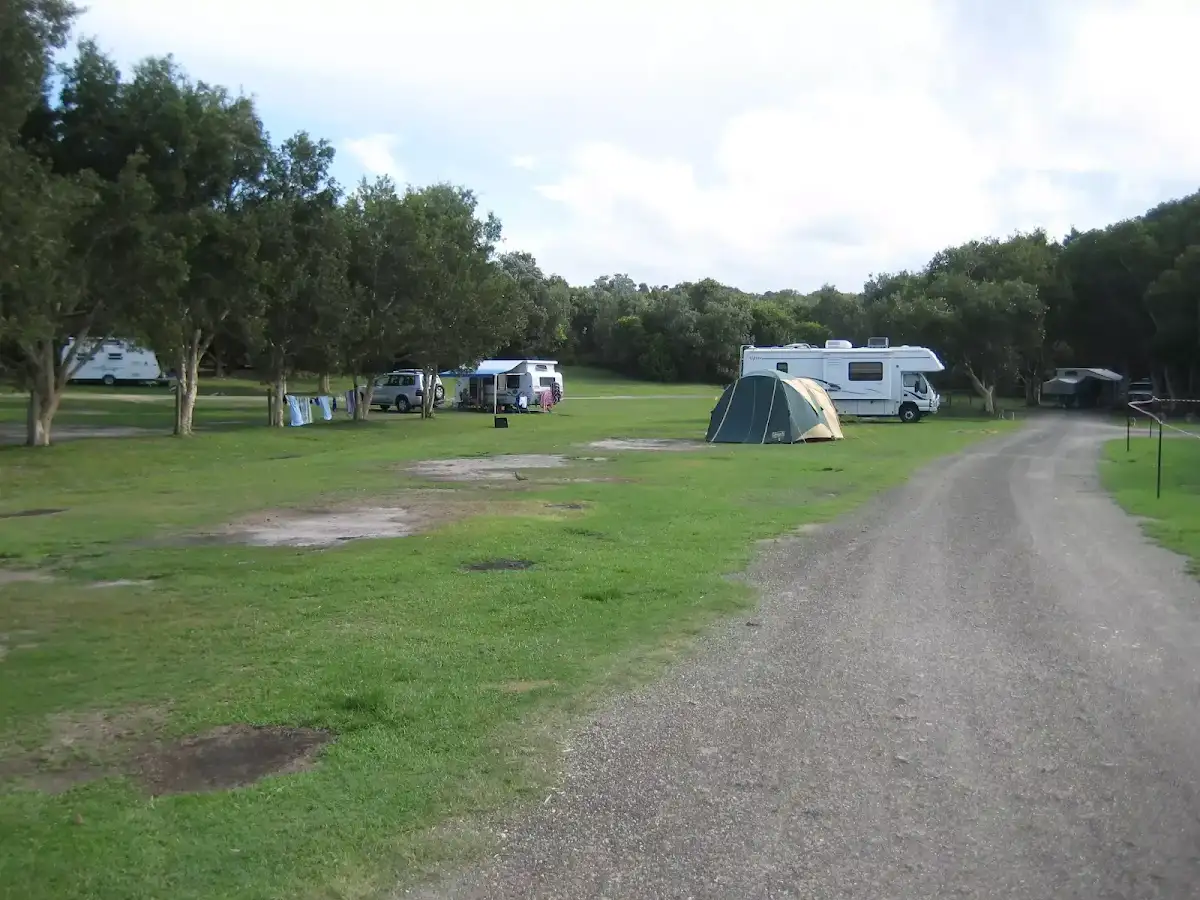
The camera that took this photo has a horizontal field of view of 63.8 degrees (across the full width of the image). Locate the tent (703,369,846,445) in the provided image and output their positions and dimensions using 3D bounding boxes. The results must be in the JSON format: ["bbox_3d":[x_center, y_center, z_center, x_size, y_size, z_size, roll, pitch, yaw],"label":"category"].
[{"bbox_3d":[5.548,-1.373,31.344,4.081,2.200,2.291,1,10,4],"label":"tent"}]

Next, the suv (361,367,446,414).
[{"bbox_3d":[-10.608,-3.230,53.367,3.948,2.090,2.394,6,7,24],"label":"suv"}]
